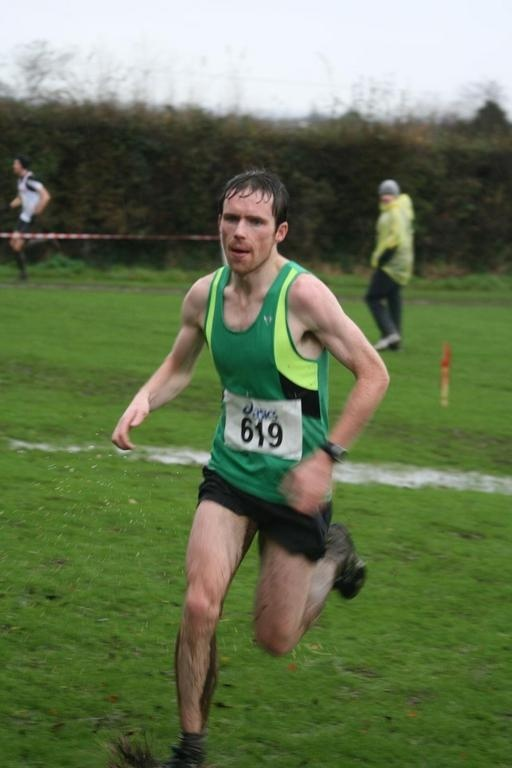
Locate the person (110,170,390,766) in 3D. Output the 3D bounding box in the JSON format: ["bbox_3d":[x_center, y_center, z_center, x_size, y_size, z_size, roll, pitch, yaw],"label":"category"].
[{"bbox_3d":[0.082,0.154,2.583,0.524,1.468,0.999,5,9,7],"label":"person"}]

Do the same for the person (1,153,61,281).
[{"bbox_3d":[-1.721,-1.276,7.040,0.295,0.889,1.747,2,9,-13],"label":"person"}]

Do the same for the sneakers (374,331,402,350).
[{"bbox_3d":[1.275,-0.417,9.316,0.350,0.218,0.112,1,6,3],"label":"sneakers"}]

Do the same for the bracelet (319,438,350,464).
[{"bbox_3d":[0.227,0.187,2.524,0.075,0.046,0.073,25,-2,-15],"label":"bracelet"}]

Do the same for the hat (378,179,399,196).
[{"bbox_3d":[1.189,-1.762,8.337,0.155,0.162,0.199,-1,-17,7],"label":"hat"}]
